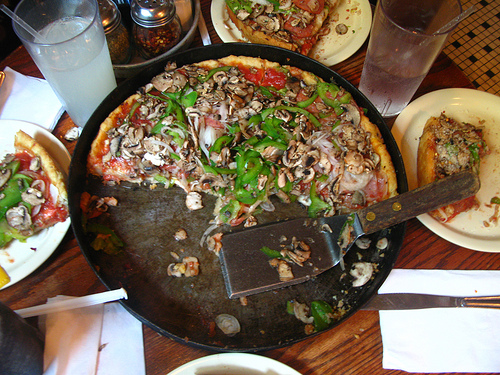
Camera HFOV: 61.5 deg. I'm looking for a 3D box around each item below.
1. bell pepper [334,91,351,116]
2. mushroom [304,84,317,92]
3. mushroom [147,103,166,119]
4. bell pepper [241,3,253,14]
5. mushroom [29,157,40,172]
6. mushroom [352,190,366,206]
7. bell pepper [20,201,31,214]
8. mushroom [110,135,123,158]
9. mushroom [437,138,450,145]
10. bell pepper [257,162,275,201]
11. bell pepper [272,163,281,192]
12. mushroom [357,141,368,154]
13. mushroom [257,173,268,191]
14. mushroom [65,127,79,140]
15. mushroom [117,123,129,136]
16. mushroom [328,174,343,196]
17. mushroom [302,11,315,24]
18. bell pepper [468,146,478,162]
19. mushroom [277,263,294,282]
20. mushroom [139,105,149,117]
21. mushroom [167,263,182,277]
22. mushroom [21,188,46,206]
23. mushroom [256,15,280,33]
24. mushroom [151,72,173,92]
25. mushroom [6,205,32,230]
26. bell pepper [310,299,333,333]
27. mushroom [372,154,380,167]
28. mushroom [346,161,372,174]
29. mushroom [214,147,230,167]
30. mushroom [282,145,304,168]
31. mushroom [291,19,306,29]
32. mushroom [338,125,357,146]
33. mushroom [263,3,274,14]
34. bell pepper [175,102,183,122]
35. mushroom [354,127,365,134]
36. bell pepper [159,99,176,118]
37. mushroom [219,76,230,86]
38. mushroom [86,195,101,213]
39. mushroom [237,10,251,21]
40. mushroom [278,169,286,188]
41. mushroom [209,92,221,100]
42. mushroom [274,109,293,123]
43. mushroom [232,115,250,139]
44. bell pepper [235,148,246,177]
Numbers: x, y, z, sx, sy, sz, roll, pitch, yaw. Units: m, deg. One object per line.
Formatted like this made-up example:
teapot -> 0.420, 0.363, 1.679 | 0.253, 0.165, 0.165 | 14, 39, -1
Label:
bell pepper -> 0.451, -0.401, 2.003 | 0.062, 0.028, 0.113 | 22, 96, 12
mushroom -> 0.302, -0.490, 2.060 | 0.051, 0.012, 0.032 | -20, 77, -6
mushroom -> -0.443, -0.365, 1.993 | 0.085, 0.019, 0.051 | -33, 79, -10
bell pepper -> -0.010, -0.953, 2.217 | 0.040, 0.020, 0.065 | -33, 77, -15
mushroom -> -0.973, -0.107, 1.902 | 0.047, 0.022, 0.067 | 2, 82, 7
mushroom -> 0.505, 0.046, 1.919 | 0.059, 0.022, 0.066 | 17, 86, -2
bell pepper -> -0.973, 0.089, 1.834 | 0.036, 0.014, 0.050 | -34, 81, 3
mushroom -> -0.624, -0.197, 1.951 | 0.067, 0.024, 0.127 | 5, 70, -8
mushroom -> 0.898, -0.213, 1.943 | 0.032, 0.009, 0.033 | 29, 106, -6
bell pepper -> 0.081, -0.019, 1.859 | 0.104, 0.042, 0.152 | -2, 88, -4
bell pepper -> 0.125, -0.053, 1.923 | 0.027, 0.054, 0.078 | -1, 81, 36
mushroom -> 0.517, -0.186, 1.916 | 0.041, 0.018, 0.052 | -13, 77, -3
mushroom -> 0.057, -0.029, 1.903 | 0.057, 0.018, 0.058 | 42, 81, 4
mushroom -> -0.878, -0.265, 2.071 | 0.044, 0.014, 0.061 | 39, 59, 14
mushroom -> -0.590, -0.272, 1.965 | 0.043, 0.015, 0.047 | 11, 78, -3
mushroom -> 0.393, -0.010, 1.889 | 0.052, 0.025, 0.092 | 3, 82, -2
mushroom -> 0.304, -0.898, 2.209 | 0.059, 0.023, 0.072 | 26, 82, 3
bell pepper -> 1.042, -0.157, 1.960 | 0.019, 0.015, 0.076 | -4, 56, -27
mushroom -> 0.153, 0.362, 1.806 | 0.063, 0.024, 0.076 | -13, 82, -3
mushroom -> -0.502, -0.368, 2.001 | 0.034, 0.017, 0.046 | 4, 80, 1
mushroom -> -0.329, 0.362, 1.832 | 0.060, 0.017, 0.061 | -5, 82, -2
mushroom -> -0.952, 0.042, 1.846 | 0.087, 0.032, 0.068 | 18, 73, -11
mushroom -> 0.098, -0.872, 2.227 | 0.126, 0.030, 0.080 | 5, 82, -1
mushroom -> -0.428, -0.505, 2.022 | 0.087, 0.026, 0.083 | -37, 84, -10
mushroom -> -0.995, 0.129, 1.809 | 0.080, 0.039, 0.110 | -24, 71, -19
bell pepper -> 0.304, 0.537, 1.777 | 0.098, 0.037, 0.115 | -12, 82, -3
mushroom -> 0.588, -0.128, 1.939 | 0.034, 0.011, 0.047 | 1, 87, -11
mushroom -> 0.496, -0.089, 1.886 | 0.090, 0.024, 0.058 | -23, 91, -5
mushroom -> -0.113, -0.139, 1.908 | 0.047, 0.020, 0.083 | 15, 82, -9
mushroom -> 0.202, -0.141, 1.918 | 0.078, 0.031, 0.102 | 1, 91, 1
mushroom -> 0.259, -0.865, 2.211 | 0.081, 0.037, 0.045 | 24, 82, 2
mushroom -> 0.450, -0.247, 1.935 | 0.068, 0.024, 0.098 | -7, 85, 8
mushroom -> 0.101, -0.956, 2.238 | 0.054, 0.015, 0.059 | 2, 87, 9
bell pepper -> -0.338, -0.360, 1.988 | 0.022, 0.024, 0.086 | -10, 77, -47
mushroom -> 0.514, -0.265, 1.945 | 0.031, 0.009, 0.025 | 13, 62, -6
bell pepper -> -0.384, -0.374, 1.994 | 0.056, 0.029, 0.074 | 38, 83, 26
mushroom -> -0.126, -0.526, 2.061 | 0.027, 0.014, 0.055 | 44, 85, 2
mushroom -> -0.712, 0.075, 1.898 | 0.058, 0.016, 0.059 | 25, 67, -21
mushroom -> -0.035, -0.909, 2.201 | 0.060, 0.029, 0.053 | 41, 83, 5
mushroom -> 0.145, -0.040, 1.910 | 0.041, 0.016, 0.069 | 1, 89, 11
mushroom -> -0.160, -0.442, 2.020 | 0.024, 0.009, 0.045 | -11, 58, -10
mushroom -> 0.158, -0.340, 1.974 | 0.074, 0.018, 0.055 | 24, 83, 5
mushroom -> -0.036, -0.285, 1.977 | 0.068, 0.024, 0.107 | -40, 99, -18
bell pepper -> -0.048, -0.114, 1.901 | 0.055, 0.025, 0.104 | -1, 78, 10
